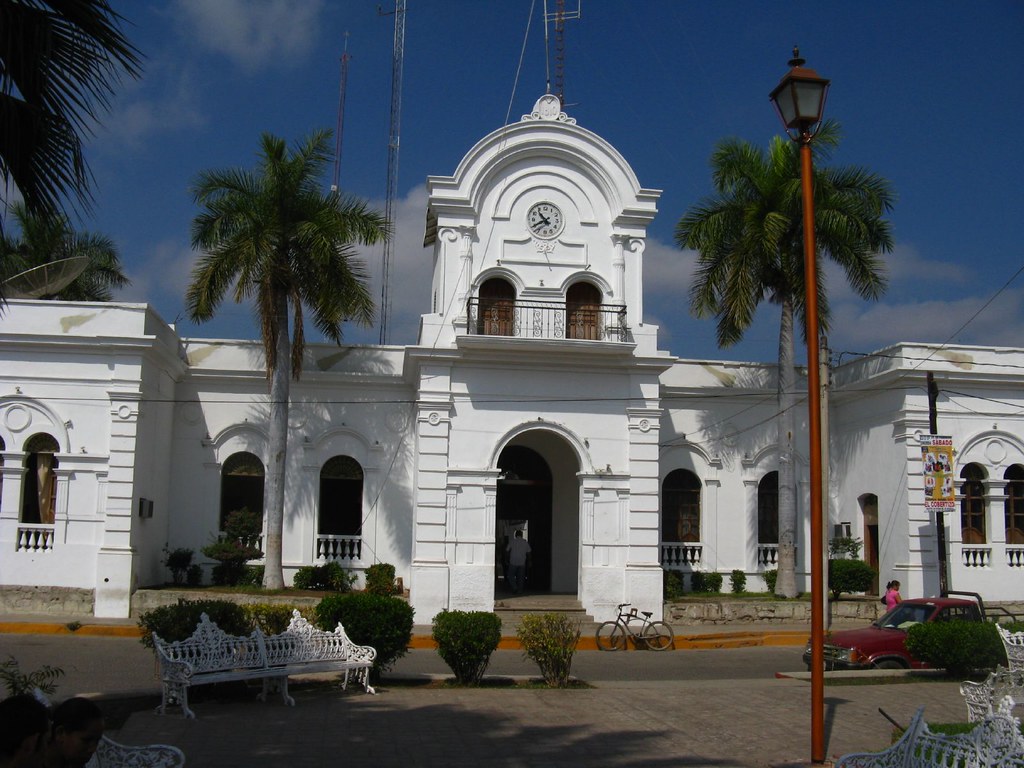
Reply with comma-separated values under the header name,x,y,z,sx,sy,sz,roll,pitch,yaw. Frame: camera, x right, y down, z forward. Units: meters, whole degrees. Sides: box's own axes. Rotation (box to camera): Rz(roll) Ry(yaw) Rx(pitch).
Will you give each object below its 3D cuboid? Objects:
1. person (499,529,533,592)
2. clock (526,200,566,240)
name,x,y,z,sx,sy,sz,roll,pitch,yaw
person,0.127,4.886,33.950,0.756,1.618,2.390,0,1,0
clock,0.886,-4.255,32.892,0.933,0.972,0.260,0,1,-17
